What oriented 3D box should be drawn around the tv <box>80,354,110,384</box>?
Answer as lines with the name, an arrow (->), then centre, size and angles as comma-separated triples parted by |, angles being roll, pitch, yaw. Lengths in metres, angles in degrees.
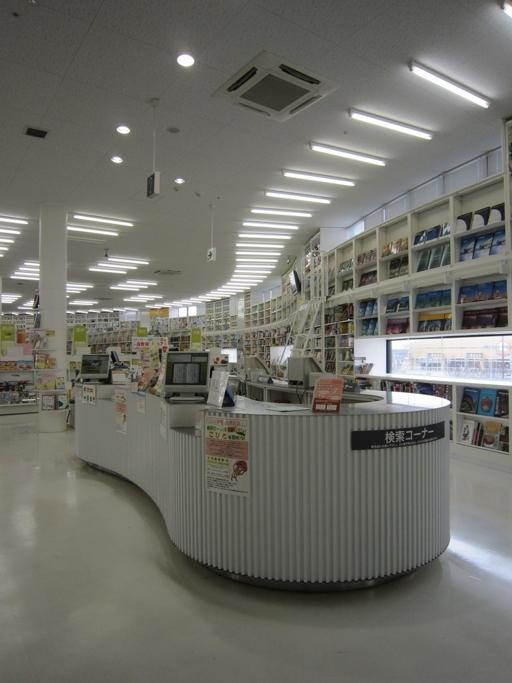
tv -> -2.151, 0.349, 6.441 | 0.353, 0.362, 0.763 | 0, -1, -22

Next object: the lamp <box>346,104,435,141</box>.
lamp -> 1.598, -2.562, 5.781 | 1.376, 0.069, 0.241 | 0, -1, -29
